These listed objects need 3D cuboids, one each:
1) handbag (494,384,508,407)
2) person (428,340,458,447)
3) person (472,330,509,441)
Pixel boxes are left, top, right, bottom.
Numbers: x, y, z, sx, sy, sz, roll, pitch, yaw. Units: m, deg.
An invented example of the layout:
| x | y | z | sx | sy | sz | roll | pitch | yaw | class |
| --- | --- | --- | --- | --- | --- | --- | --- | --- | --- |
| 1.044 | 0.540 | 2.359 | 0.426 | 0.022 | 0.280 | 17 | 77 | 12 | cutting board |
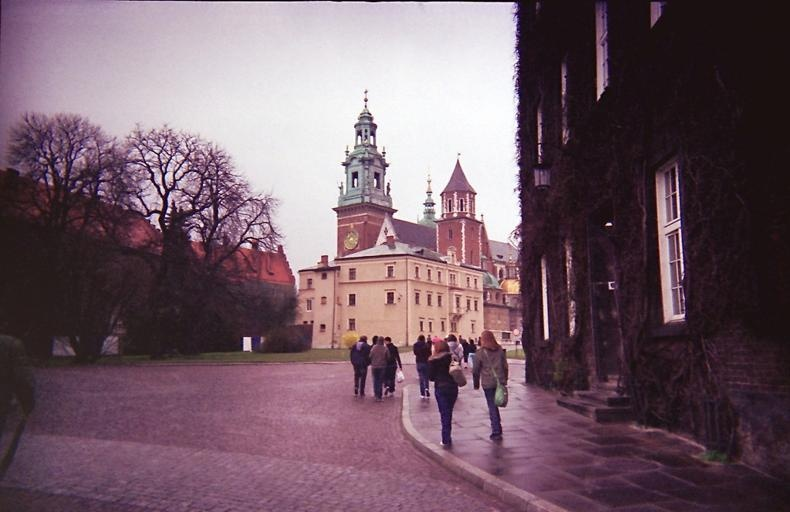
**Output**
| x | y | z | sx | sy | sz | roll | pitch | yaw | class |
| --- | --- | --- | --- | --- | --- | --- | --- | --- | --- |
| 2.152 | 2.808 | 13.432 | 0.216 | 0.422 | 0.259 | 0 | -9 | 9 | handbag |
| 0.966 | 2.684 | 13.256 | 0.562 | 2.084 | 1.284 | 1 | -9 | 4 | person |
| 1.951 | 2.591 | 13.589 | 0.676 | 2.197 | 0.979 | 0 | -9 | 9 | person |
